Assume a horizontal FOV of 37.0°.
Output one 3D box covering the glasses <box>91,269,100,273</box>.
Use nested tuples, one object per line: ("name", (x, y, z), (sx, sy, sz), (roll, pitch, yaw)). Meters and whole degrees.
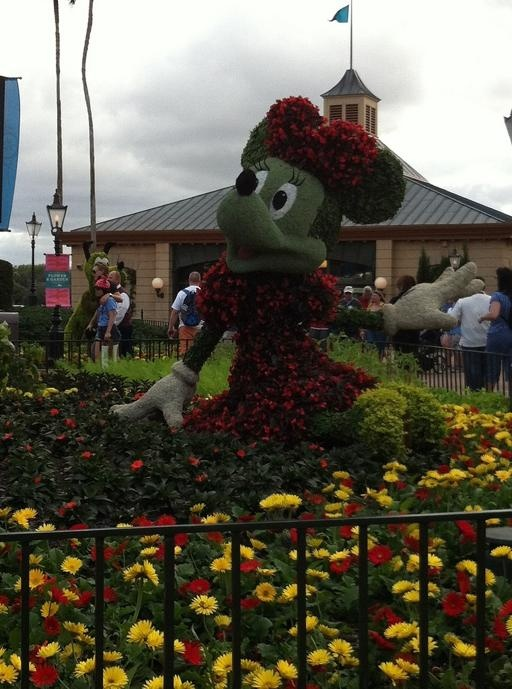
("glasses", (-2.293, -1.053, 11.009), (0.104, 0.029, 0.094), (1, 0, -24))

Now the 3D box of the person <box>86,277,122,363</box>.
("person", (-2.096, -0.364, 10.617), (0.430, 1.172, 1.950), (1, 1, -12))

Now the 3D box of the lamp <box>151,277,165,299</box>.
("lamp", (-3.347, -1.945, 26.268), (0.403, 0.705, 0.963), (1, 1, -7))

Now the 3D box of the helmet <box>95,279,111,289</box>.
("helmet", (-2.083, -0.825, 10.408), (0.130, 0.161, 0.297), (2, 2, 5))
